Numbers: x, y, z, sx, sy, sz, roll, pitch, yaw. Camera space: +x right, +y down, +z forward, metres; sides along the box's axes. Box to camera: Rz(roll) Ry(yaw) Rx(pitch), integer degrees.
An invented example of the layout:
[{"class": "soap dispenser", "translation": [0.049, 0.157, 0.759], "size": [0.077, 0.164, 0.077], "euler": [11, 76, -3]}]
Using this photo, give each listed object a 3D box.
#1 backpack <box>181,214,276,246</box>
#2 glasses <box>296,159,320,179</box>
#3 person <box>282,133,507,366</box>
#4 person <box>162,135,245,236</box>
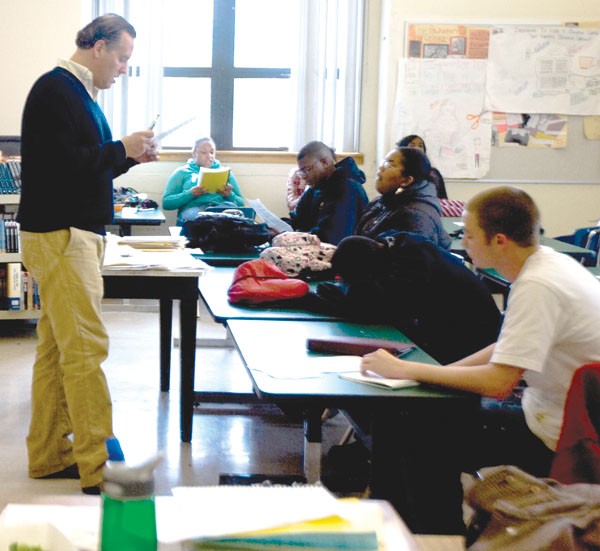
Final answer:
[{"class": "backpack", "translation": [-0.420, -0.240, 3.363], "size": [0.311, 0.134, 0.238], "euler": [3, 7, 30]}, {"class": "glasses", "translation": [0.057, -0.681, 3.889], "size": [0.116, 0.107, 0.114], "euler": [5, 9, 9]}, {"class": "person", "translation": [0.367, -0.222, 2.886], "size": [0.961, 1.568, 0.716], "euler": [1, 15, 11]}, {"class": "person", "translation": [-0.855, -0.758, 5.235], "size": [0.643, 0.890, 0.581], "euler": [3, -14, -16]}]
